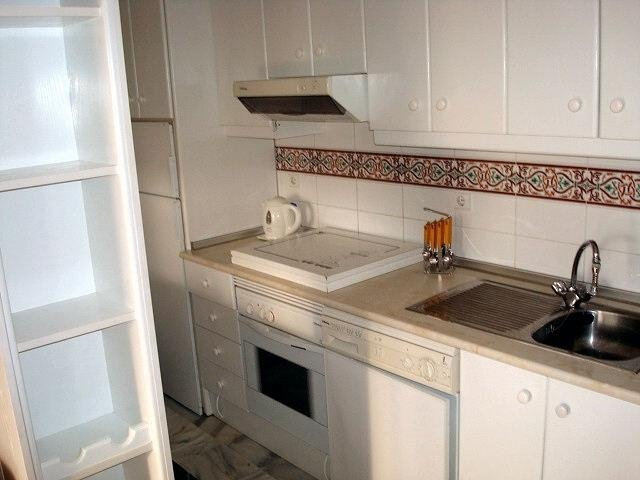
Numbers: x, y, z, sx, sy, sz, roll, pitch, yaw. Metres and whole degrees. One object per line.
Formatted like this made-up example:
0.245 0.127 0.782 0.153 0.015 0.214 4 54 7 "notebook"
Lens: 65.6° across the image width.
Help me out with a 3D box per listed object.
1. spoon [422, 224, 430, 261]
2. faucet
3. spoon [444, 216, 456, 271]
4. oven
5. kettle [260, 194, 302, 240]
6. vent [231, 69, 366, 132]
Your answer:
0.518 0.005 2.409 0.032 0.176 0.053 -4 15 -10 "spoon"
1.066 0.112 2.042 0.166 0.284 0.232 8 18 29 "faucet"
0.645 0.002 2.456 0.047 0.237 0.163 3 16 15 "spoon"
-0.060 0.751 2.744 0.460 0.710 0.683 -13 14 -42 "oven"
-0.246 -0.141 3.082 0.265 0.261 0.196 9 15 30 "kettle"
-0.101 -0.704 2.482 0.716 0.229 0.283 14 21 42 "vent"
